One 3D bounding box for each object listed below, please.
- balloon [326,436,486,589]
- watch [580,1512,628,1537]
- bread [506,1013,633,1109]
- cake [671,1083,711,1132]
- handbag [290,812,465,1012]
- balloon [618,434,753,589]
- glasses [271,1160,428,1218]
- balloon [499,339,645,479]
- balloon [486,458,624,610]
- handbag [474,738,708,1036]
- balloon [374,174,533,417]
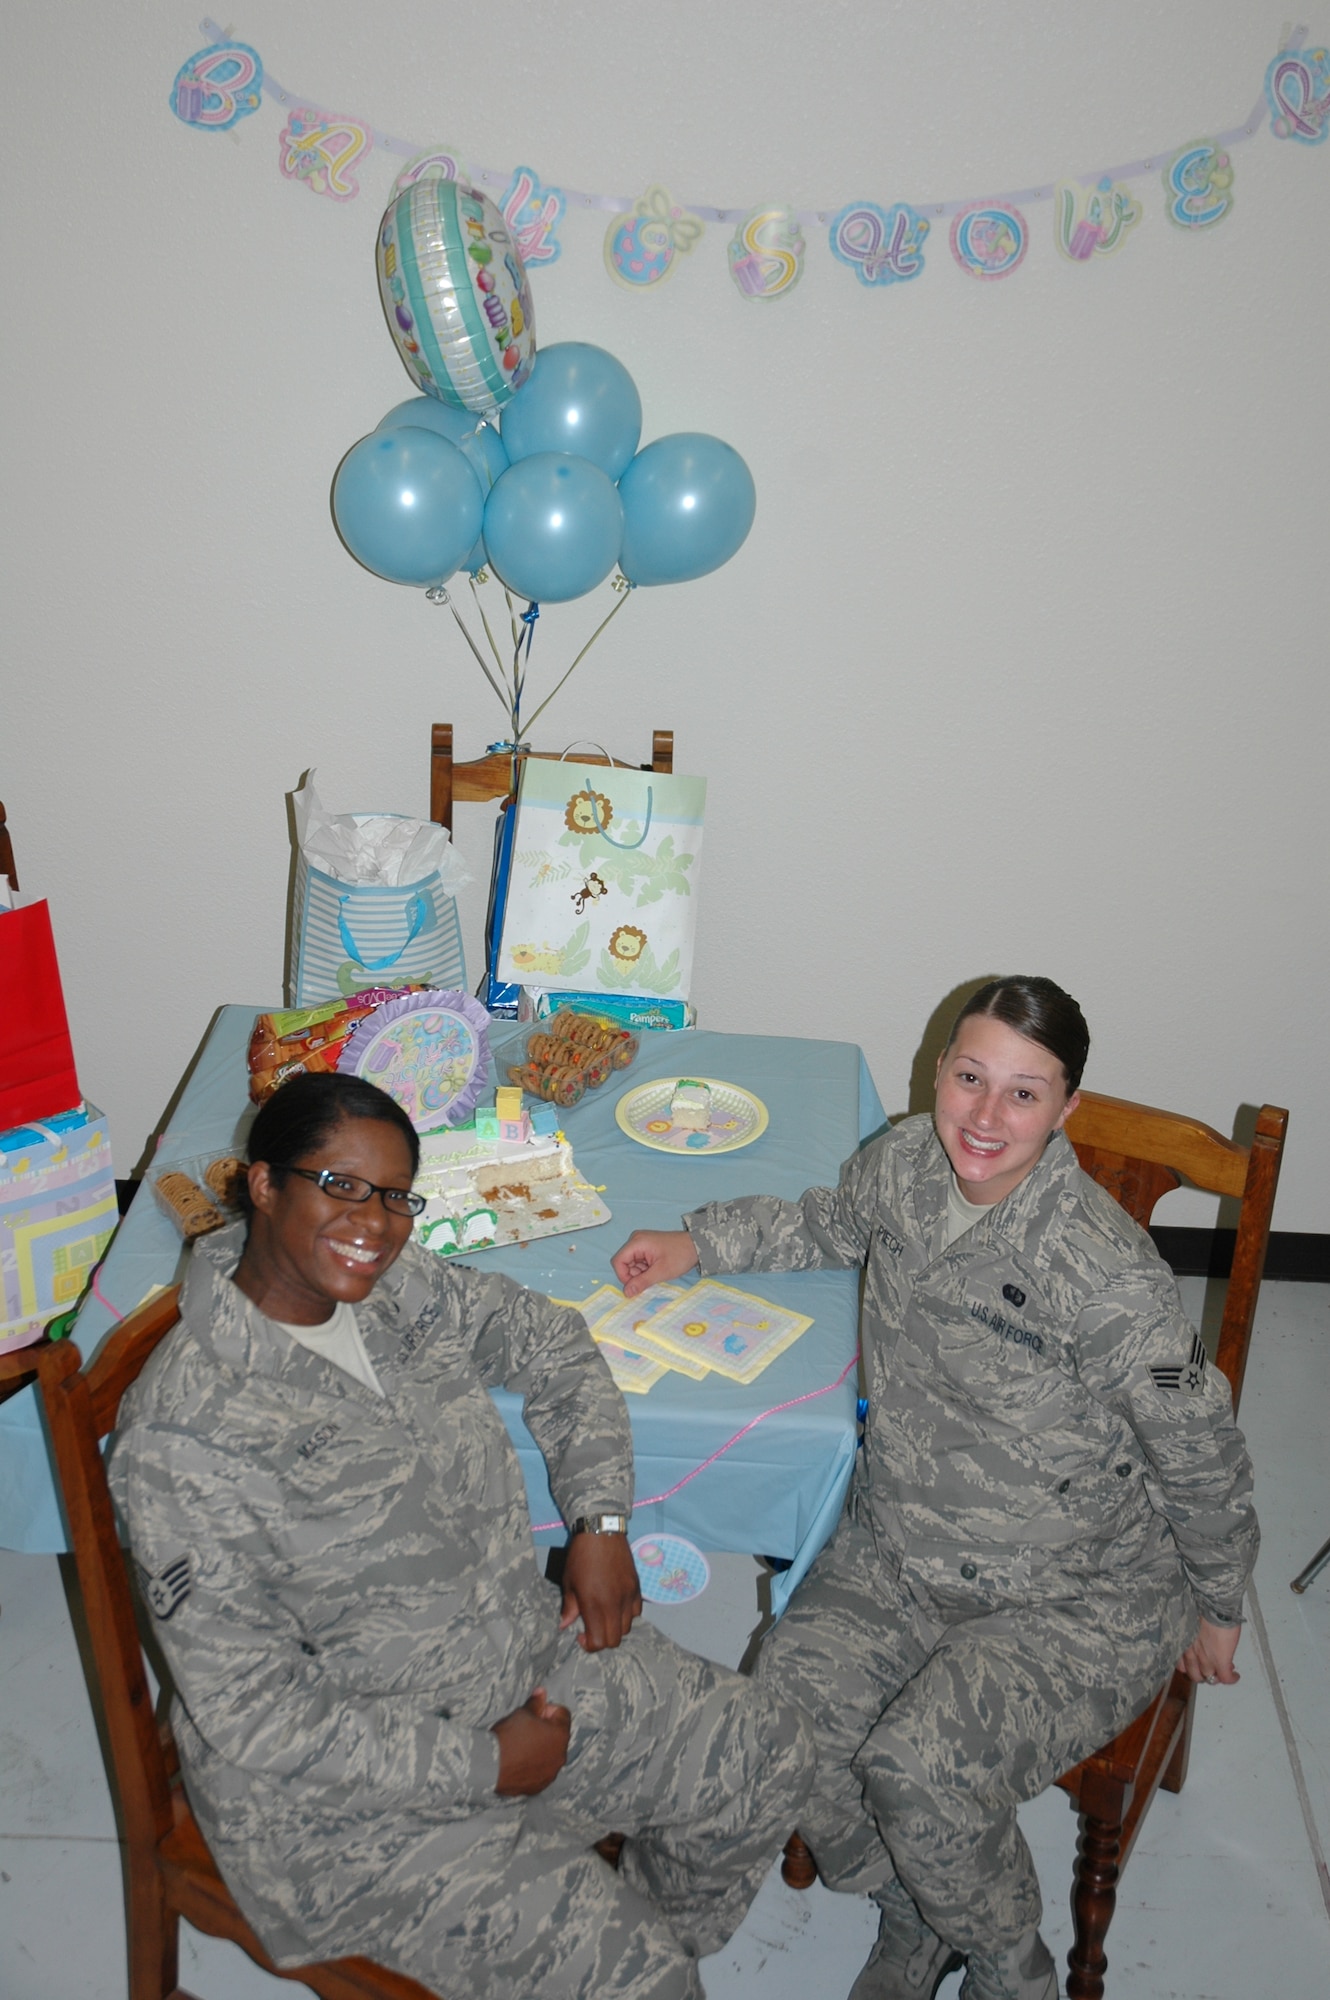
[{"bbox_3d":[-0.468,-0.909,2.846,0.278,0.319,0.281,-7,14,-33],"label":"balloon"},{"bbox_3d":[-0.064,0.563,1.667,0.044,0.028,0.044,9,-15,-35],"label":"watch"},{"bbox_3d":[-0.148,0.087,2.497,0.121,0.071,0.169,-2,20,13],"label":"bread"},{"bbox_3d":[0.041,0.160,2.420,0.054,0.048,0.100,4,13,4],"label":"cake"},{"bbox_3d":[-0.524,-0.127,2.745,0.271,0.364,0.209,-14,46,-28],"label":"handbag"},{"bbox_3d":[0.045,-0.943,2.978,0.269,0.332,0.280,0,15,-18],"label":"balloon"},{"bbox_3d":[-0.301,0.191,1.500,0.116,0.060,0.039,-2,15,-21],"label":"glasses"},{"bbox_3d":[-0.130,-1.076,2.912,0.251,0.247,0.286,11,11,2],"label":"balloon"},{"bbox_3d":[-0.210,-0.880,2.864,0.259,0.295,0.260,2,19,23],"label":"balloon"},{"bbox_3d":[-0.121,-0.203,2.850,0.348,0.459,0.176,5,15,6],"label":"handbag"},{"bbox_3d":[-0.336,-1.203,2.671,0.210,0.373,0.300,-8,6,13],"label":"balloon"}]
